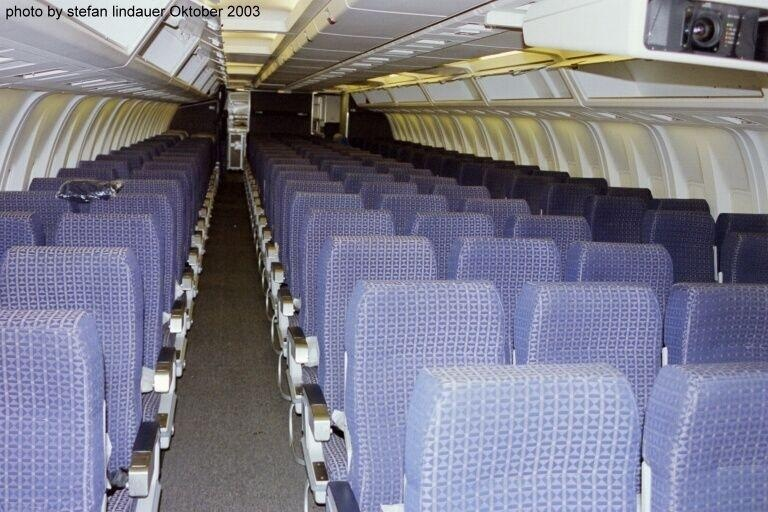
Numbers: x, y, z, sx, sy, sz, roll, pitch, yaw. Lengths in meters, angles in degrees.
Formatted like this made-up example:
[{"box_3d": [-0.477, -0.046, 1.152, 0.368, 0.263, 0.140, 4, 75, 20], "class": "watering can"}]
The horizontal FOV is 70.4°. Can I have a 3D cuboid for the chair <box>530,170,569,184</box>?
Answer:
[{"box_3d": [3.063, -1.445, 9.843, 0.560, 0.328, 0.383, 2, 3, -10], "class": "chair"}]

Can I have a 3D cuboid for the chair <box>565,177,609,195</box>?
[{"box_3d": [3.221, -1.103, 8.667, 0.506, 0.301, 0.348, 3, 20, -17], "class": "chair"}]

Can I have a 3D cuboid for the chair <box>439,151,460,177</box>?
[{"box_3d": [1.518, -2.028, 12.457, 0.493, 0.525, 0.400, -1, -1, 11], "class": "chair"}]

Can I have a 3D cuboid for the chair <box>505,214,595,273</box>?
[{"box_3d": [1.478, -0.045, 4.826, 0.713, 0.541, 0.472, 1, 5, -10], "class": "chair"}]

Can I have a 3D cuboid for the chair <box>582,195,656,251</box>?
[{"box_3d": [2.804, -0.397, 7.000, 0.805, 0.915, 0.750, 1, 3, -9], "class": "chair"}]

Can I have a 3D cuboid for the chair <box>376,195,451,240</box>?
[{"box_3d": [0.294, -0.315, 5.724, 0.726, 0.405, 0.497, 1, 9, -7], "class": "chair"}]

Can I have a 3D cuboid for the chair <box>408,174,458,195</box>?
[{"box_3d": [0.668, -0.998, 7.673, 0.639, 0.238, 0.323, 1, 15, -12], "class": "chair"}]

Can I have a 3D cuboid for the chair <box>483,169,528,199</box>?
[{"box_3d": [2.172, -1.372, 10.068, 0.702, 0.800, 0.717, 6, 6, 3], "class": "chair"}]

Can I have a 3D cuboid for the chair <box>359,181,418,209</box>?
[{"box_3d": [0.046, -0.715, 6.473, 0.535, 0.324, 0.182, 0, 2, -13], "class": "chair"}]

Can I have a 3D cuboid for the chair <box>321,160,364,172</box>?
[{"box_3d": [-0.745, -1.574, 9.525, 0.531, 0.220, 0.124, 2, 31, -18], "class": "chair"}]
